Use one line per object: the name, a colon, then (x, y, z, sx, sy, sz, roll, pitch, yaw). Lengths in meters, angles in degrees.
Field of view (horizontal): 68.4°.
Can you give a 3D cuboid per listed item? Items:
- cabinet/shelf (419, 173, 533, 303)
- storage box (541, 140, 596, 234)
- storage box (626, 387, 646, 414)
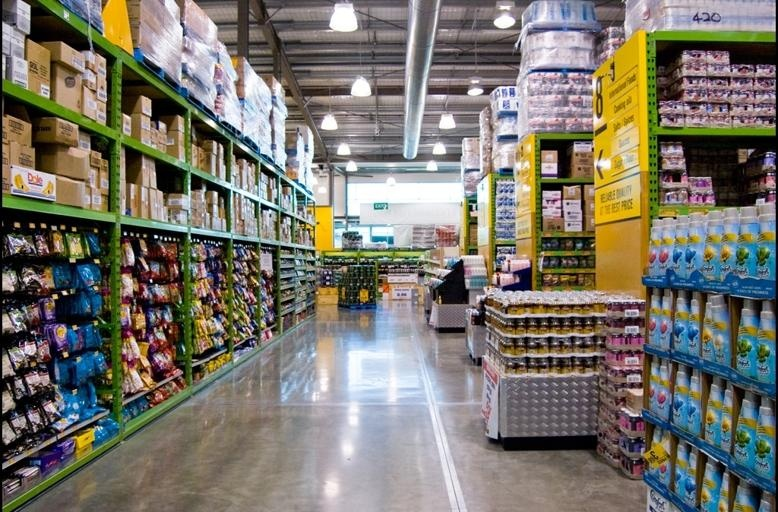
cabinet/shelf: (1.568, -0.335, 9.105, 0.764, 1.889, 4.796, 1, 6, 6)
storage box: (2.108, -0.837, 6.954, 0.644, 1.111, 0.478, 1, 5, 6)
storage box: (1.859, 1.119, 4.388, 0.116, 0.168, 0.202, 2, 6, 19)
